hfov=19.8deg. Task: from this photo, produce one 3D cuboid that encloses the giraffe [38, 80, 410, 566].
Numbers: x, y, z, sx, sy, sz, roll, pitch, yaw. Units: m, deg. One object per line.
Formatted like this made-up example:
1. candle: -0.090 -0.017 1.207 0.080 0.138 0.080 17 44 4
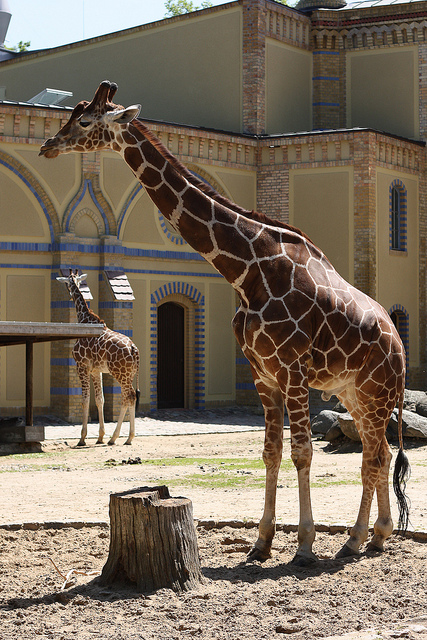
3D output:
1. giraffe: 0.390 0.030 10.557 2.706 4.001 0.942 1 -2 -4
